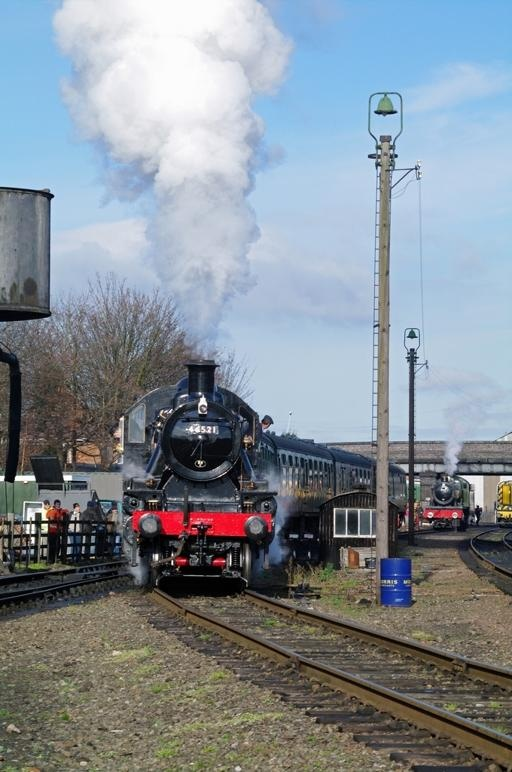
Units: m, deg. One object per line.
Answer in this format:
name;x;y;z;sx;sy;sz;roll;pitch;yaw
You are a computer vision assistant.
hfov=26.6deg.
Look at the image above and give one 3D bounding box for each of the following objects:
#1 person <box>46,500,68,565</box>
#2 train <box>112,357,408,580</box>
person;-4.311;3.073;23.364;0.407;1.337;1.165;3;-5;-10
train;0.011;1.834;23.924;2.713;4.185;16.682;-1;-3;1
